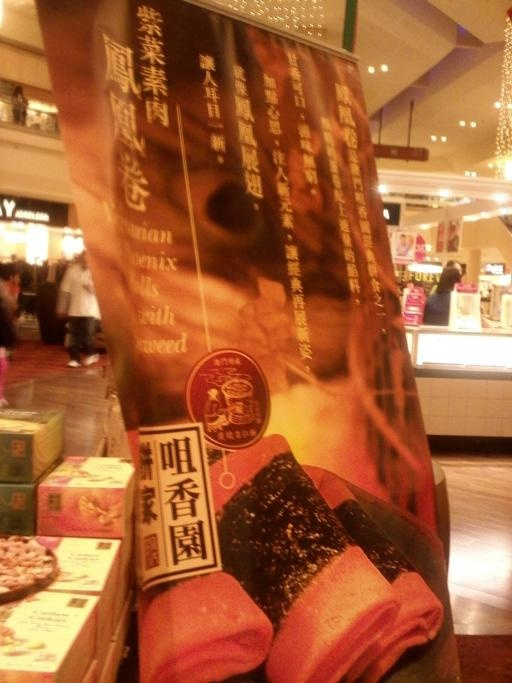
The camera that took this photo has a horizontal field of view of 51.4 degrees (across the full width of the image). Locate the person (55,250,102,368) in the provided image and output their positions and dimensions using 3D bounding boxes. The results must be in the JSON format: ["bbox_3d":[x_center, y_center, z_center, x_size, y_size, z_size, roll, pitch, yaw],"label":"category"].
[{"bbox_3d":[-2.501,-0.461,7.537,0.586,1.617,0.812,3,6,-17],"label":"person"}]
